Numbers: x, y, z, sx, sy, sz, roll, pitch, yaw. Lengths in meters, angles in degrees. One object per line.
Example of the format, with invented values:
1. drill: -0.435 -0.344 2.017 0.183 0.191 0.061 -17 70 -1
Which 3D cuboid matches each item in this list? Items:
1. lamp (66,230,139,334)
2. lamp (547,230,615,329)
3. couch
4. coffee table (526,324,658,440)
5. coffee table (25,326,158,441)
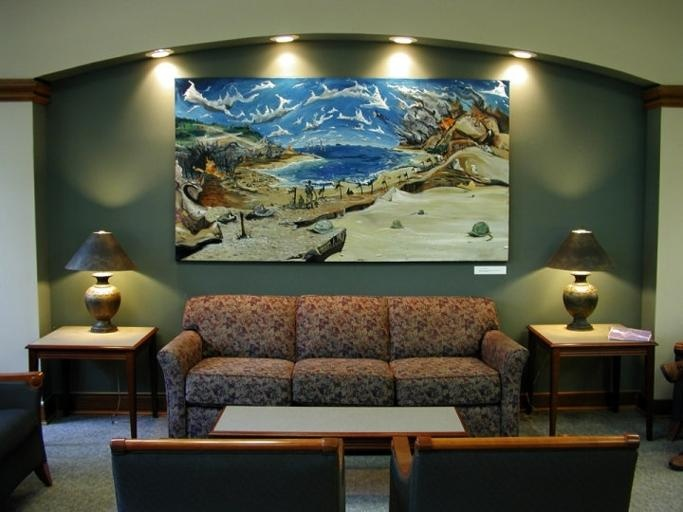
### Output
1. lamp: -2.095 0.237 5.093 0.496 0.870 0.363 2 6 25
2. lamp: 2.135 0.219 5.178 0.501 0.868 0.445 -6 7 -39
3. couch: 0.029 0.934 5.037 2.940 0.985 0.955 0 7 -1
4. coffee table: 2.238 1.147 5.229 1.014 0.900 0.991 -1 5 3
5. coffee table: -2.104 1.075 5.063 0.917 0.838 0.806 -1 6 2
